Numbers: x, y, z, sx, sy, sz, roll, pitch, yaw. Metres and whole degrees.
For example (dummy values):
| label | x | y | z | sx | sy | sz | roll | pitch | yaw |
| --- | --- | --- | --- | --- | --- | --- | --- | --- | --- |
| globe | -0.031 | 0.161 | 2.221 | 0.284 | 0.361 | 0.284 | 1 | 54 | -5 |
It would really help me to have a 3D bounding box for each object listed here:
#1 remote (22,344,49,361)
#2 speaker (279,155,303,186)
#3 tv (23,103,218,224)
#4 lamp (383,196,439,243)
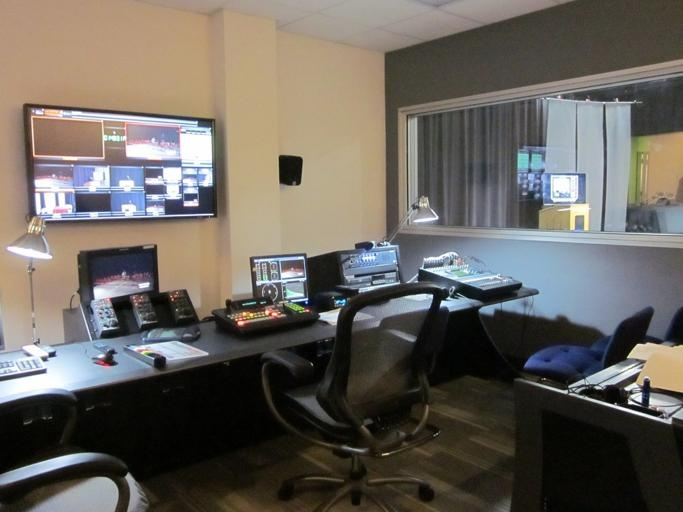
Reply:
| label | x | y | z | sx | sy | sz | roll | pitch | yaw |
| --- | --- | --- | --- | --- | --- | --- | --- | --- | --- |
| remote | -1.582 | 0.502 | 2.640 | 0.180 | 0.039 | 0.053 | 23 | 32 | 35 |
| speaker | -0.454 | -0.765 | 4.542 | 0.205 | 0.272 | 0.138 | -3 | 12 | -7 |
| tv | -1.652 | -0.681 | 3.692 | 1.017 | 0.581 | 0.099 | -3 | 3 | -34 |
| lamp | 0.686 | -0.356 | 4.896 | 0.212 | 0.516 | 0.512 | -18 | 37 | -36 |
